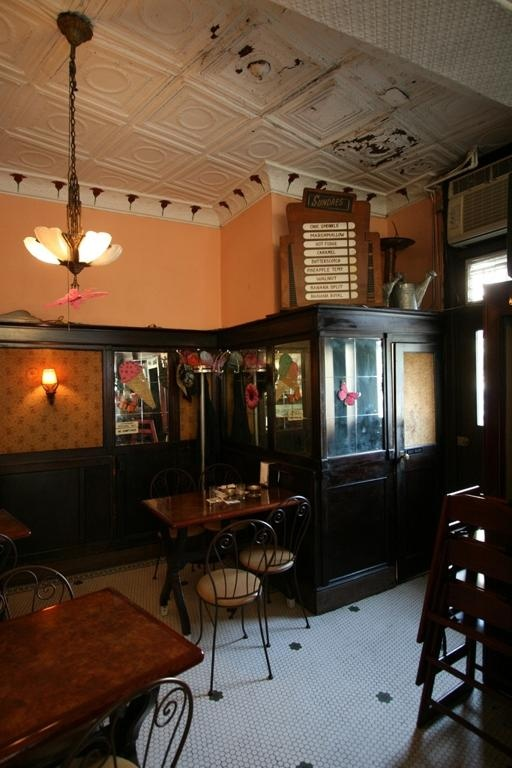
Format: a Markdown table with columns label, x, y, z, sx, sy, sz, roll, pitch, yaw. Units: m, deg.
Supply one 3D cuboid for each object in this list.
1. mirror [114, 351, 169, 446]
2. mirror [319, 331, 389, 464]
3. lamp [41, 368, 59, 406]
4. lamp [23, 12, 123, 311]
| label | x | y | z | sx | sy | sz | roll | pitch | yaw |
| --- | --- | --- | --- | --- | --- | --- | --- | --- | --- |
| mirror | -0.952 | 0.106 | 4.556 | 0.483 | 0.759 | 0.067 | -4 | 5 | -35 |
| mirror | 0.643 | 0.074 | 3.561 | 0.556 | 0.760 | 0.070 | -4 | 5 | -39 |
| lamp | -1.550 | 0.014 | 4.100 | 0.125 | 0.276 | 0.076 | -3 | 4 | -28 |
| lamp | -1.074 | -1.093 | 3.123 | 0.484 | 1.329 | 1.348 | -3 | 4 | -23 |
